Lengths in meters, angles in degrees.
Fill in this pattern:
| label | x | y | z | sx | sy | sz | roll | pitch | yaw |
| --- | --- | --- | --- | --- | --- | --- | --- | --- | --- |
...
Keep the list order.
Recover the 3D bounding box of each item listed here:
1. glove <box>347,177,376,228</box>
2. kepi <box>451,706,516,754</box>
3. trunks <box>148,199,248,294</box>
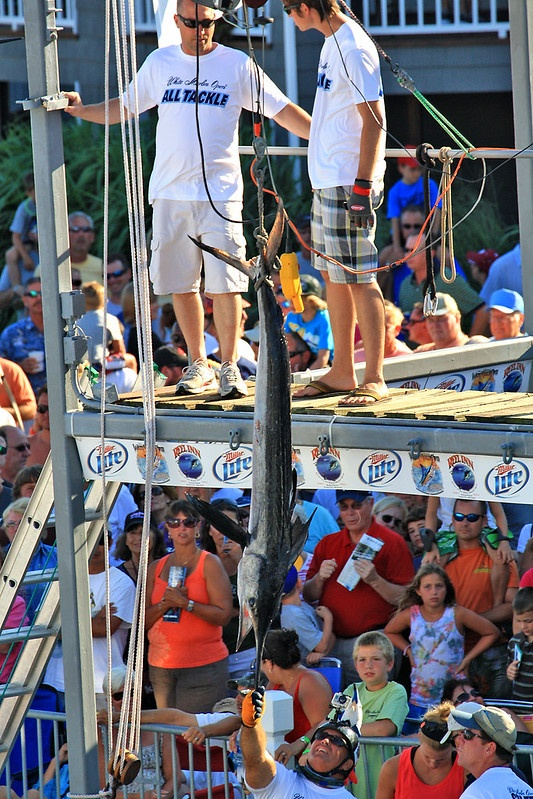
| label | x | y | z | sx | sy | sz | roll | pitch | yaw |
| --- | --- | --- | --- | --- | --- | --- | --- | --- | --- |
| glove | 0.439 | -0.914 | 8.511 | 0.115 | 0.224 | 0.264 | -2 | 5 | 4 |
| kepi | 0.959 | 1.412 | 7.999 | 0.251 | 0.130 | 0.168 | 25 | -1 | 11 |
| trunks | -0.353 | -0.798 | 9.097 | 0.487 | 0.593 | 0.221 | -2 | 18 | 22 |
